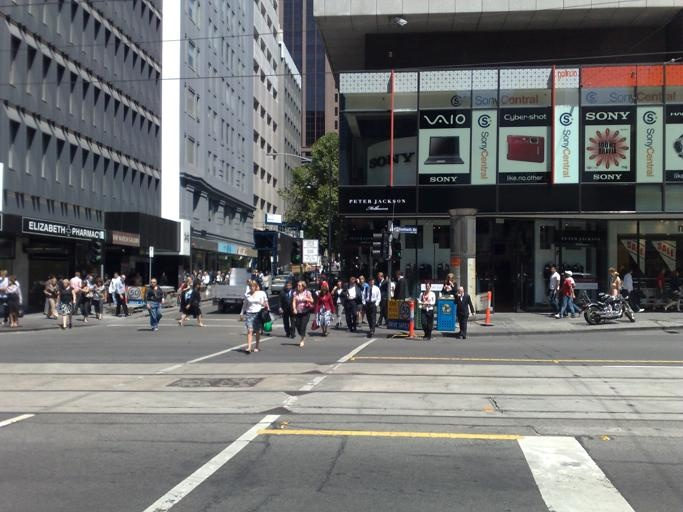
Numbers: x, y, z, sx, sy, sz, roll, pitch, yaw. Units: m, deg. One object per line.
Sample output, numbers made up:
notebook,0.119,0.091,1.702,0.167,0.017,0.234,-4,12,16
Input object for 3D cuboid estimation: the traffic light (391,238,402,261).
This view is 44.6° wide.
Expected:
traffic light,2.074,-0.290,32.002,0.452,0.956,0.665,0,1,-4

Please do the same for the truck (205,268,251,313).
truck,-5.496,1.596,40.930,1.654,2.239,3.358,0,-1,-2

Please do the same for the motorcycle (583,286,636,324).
motorcycle,9.879,1.932,30.981,1.926,1.041,0.682,-4,8,-25

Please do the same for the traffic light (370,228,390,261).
traffic light,1.505,-0.413,31.181,0.699,1.006,0.825,0,7,3
